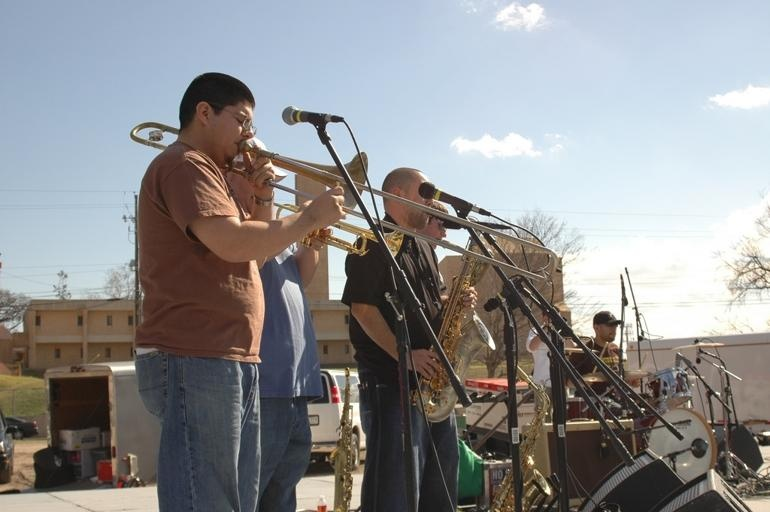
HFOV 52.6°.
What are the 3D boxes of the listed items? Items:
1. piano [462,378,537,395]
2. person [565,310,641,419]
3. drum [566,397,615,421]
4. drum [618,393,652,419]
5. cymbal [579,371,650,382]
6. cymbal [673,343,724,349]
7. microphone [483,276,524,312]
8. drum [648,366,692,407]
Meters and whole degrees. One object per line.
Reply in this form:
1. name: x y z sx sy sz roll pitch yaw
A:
1. piano: 1.453 1.656 9.879 0.499 0.170 0.726 2 -7 -15
2. person: 3.303 1.577 11.708 0.960 1.432 0.863 1 -2 -15
3. drum: 2.621 2.064 10.637 0.477 0.298 0.289 1 -12 -22
4. drum: 2.582 1.520 8.031 0.272 0.239 1.156 -7 -13 17
5. cymbal: 2.947 1.550 10.135 0.586 0.120 0.596 -10 -20 33
6. cymbal: 5.908 1.677 14.621 0.633 0.165 0.630 3 -10 -34
7. microphone: 1.135 0.424 7.446 0.357 0.258 0.143 -33 -8 12
8. drum: 4.288 1.933 11.460 0.477 0.572 0.602 6 -12 -28
